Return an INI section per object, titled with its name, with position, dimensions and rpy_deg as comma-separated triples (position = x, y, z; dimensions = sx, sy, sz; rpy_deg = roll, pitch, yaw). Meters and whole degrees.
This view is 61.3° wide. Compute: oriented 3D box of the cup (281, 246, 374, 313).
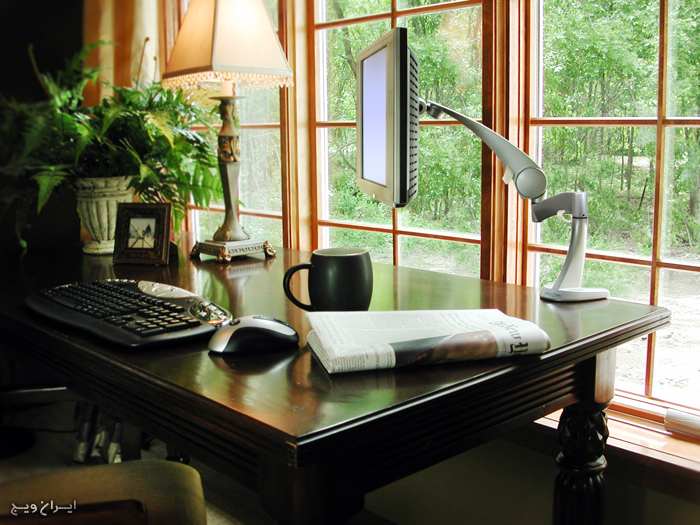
[cup]
position = -0.029, 0.033, 1.110
dimensions = 0.163, 0.116, 0.103
rpy_deg = -3, 1, 20

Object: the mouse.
[mouse]
position = -0.162, 0.125, 0.983
dimensions = 0.117, 0.045, 0.070
rpy_deg = -4, 10, -27

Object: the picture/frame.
[picture/frame]
position = -0.585, -0.081, 1.641
dimensions = 0.181, 0.200, 0.020
rpy_deg = 1, -11, 3
